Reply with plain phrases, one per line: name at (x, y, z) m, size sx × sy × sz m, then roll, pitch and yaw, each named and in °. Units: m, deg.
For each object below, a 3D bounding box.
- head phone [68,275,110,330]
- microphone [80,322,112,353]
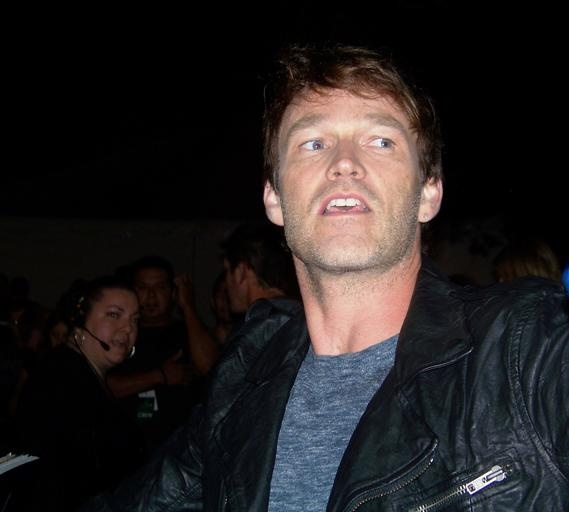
head phone at (-1.332, 0.307, 3.809) m, size 0.107 × 0.321 × 0.247 m, roll 17°, pitch 1°, yaw 25°
microphone at (-1.221, 0.531, 3.706) m, size 0.185 × 0.046 × 0.141 m, roll 41°, pitch 3°, yaw 5°
